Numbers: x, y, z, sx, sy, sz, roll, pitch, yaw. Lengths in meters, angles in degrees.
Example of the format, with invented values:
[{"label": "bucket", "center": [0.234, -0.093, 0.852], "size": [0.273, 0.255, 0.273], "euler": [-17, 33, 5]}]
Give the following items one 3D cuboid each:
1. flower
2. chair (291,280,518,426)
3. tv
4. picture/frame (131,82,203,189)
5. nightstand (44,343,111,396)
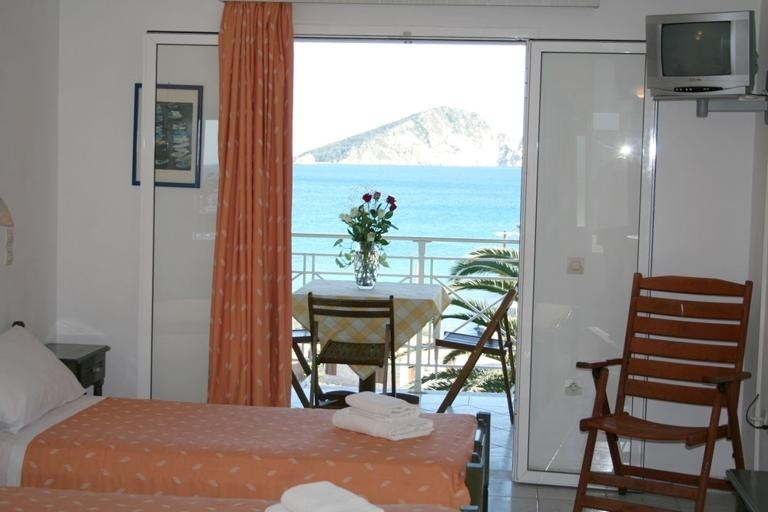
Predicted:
[{"label": "flower", "center": [-0.174, -0.111, 5.839], "size": [0.541, 0.804, 0.549], "euler": [4, -1, 38]}, {"label": "chair", "center": [0.199, 0.712, 5.667], "size": [1.799, 1.250, 1.034], "euler": [4, 2, 7]}, {"label": "tv", "center": [2.155, -1.367, 4.316], "size": [0.384, 0.529, 0.700], "euler": [-25, 26, -32]}, {"label": "picture/frame", "center": [-1.606, -0.924, 4.856], "size": [0.751, 1.062, 0.050], "euler": [1, 4, 3]}, {"label": "nightstand", "center": [-2.159, 0.717, 4.712], "size": [0.360, 0.429, 0.446], "euler": [3, 9, 8]}]
